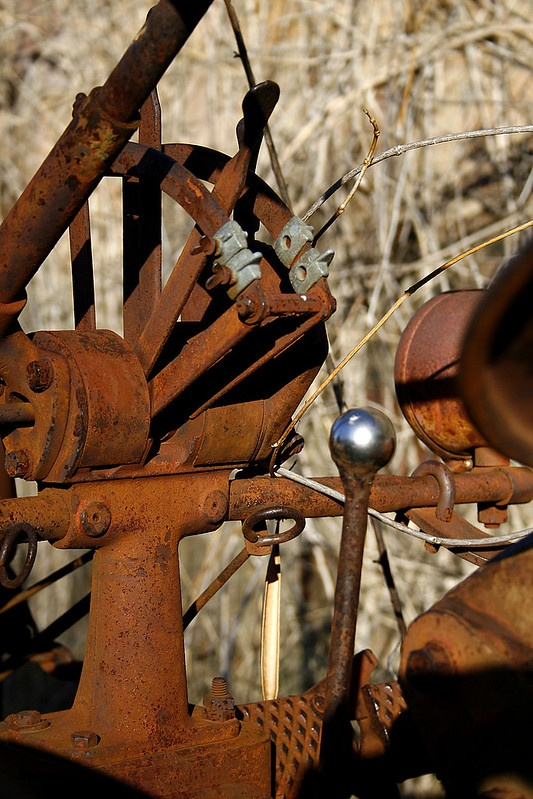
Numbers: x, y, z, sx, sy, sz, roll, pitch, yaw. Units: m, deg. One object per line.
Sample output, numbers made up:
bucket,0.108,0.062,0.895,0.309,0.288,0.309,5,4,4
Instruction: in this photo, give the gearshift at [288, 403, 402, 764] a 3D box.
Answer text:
gearshift,0.164,0.354,2.474,0.116,0.636,0.260,1,-12,-23
